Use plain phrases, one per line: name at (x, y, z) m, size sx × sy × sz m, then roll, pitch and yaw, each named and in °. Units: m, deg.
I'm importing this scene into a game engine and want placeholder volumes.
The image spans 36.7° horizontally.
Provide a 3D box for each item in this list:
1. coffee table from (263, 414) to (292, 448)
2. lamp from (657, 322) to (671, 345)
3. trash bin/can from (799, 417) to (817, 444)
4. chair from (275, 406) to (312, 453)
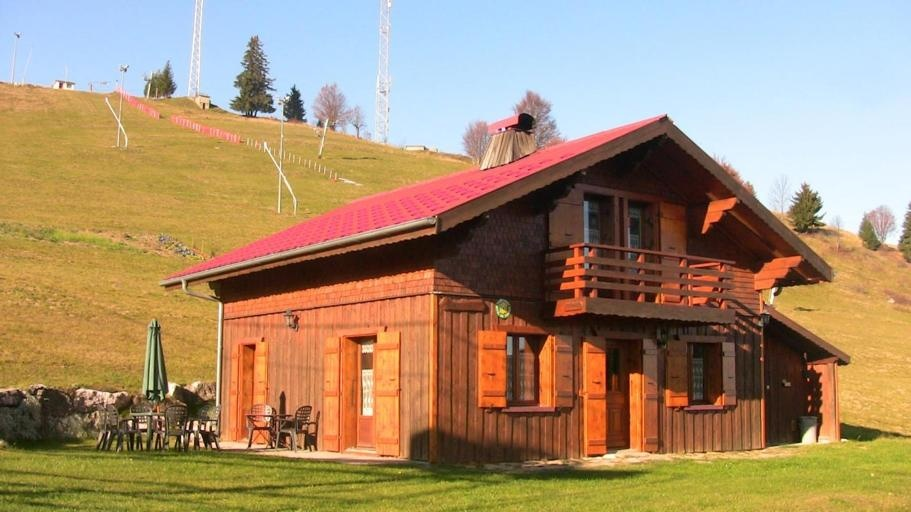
coffee table at (-9.533, 9.333, 74.012) m, size 1.833 × 2.168 × 1.619 m, roll -2°, pitch -5°, yaw -26°
lamp at (11.398, 4.373, 74.294) m, size 0.834 × 1.078 × 0.412 m, roll 2°, pitch -13°, yaw -4°
trash bin/can at (20.160, 9.822, 77.366) m, size 1.066 × 1.533 × 0.680 m, roll 0°, pitch -13°, yaw 2°
chair at (-8.769, 9.175, 73.423) m, size 2.134 × 2.402 × 1.444 m, roll -8°, pitch -15°, yaw 34°
